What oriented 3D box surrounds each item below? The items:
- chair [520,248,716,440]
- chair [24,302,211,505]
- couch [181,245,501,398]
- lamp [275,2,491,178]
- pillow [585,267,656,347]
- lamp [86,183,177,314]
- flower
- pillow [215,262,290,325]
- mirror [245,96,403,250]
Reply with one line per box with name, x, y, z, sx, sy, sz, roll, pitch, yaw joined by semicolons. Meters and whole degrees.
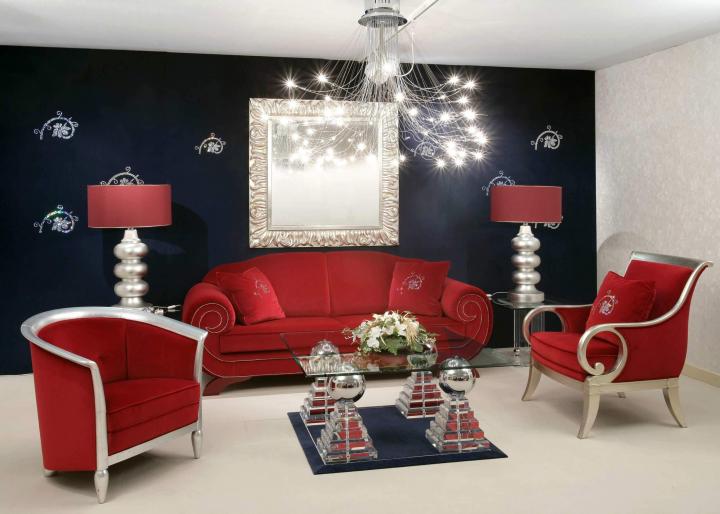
chair;2.069;0.663;4.614;1.328;1.252;1.245;-5;7;-31
chair;-1.742;0.907;3.819;0.982;0.922;1.082;5;4;29
couch;-0.243;0.559;5.552;2.927;1.117;1.098;0;7;-20
lamp;0.380;-1.529;5.398;1.487;1.483;1.449;-1;-21;2
pillow;2.097;0.416;4.516;0.358;0.549;0.655;-6;5;-9
lamp;-2.054;-0.109;5.034;0.695;1.110;0.331;-6;14;-25
flower;0.260;0.525;4.120;0.531;0.224;0.511;9;0;-37
pillow;-0.982;0.357;5.256;0.375;0.471;0.570;11;16;43
mirror;-0.456;-0.942;5.844;1.794;1.597;0.086;0;0;-16
